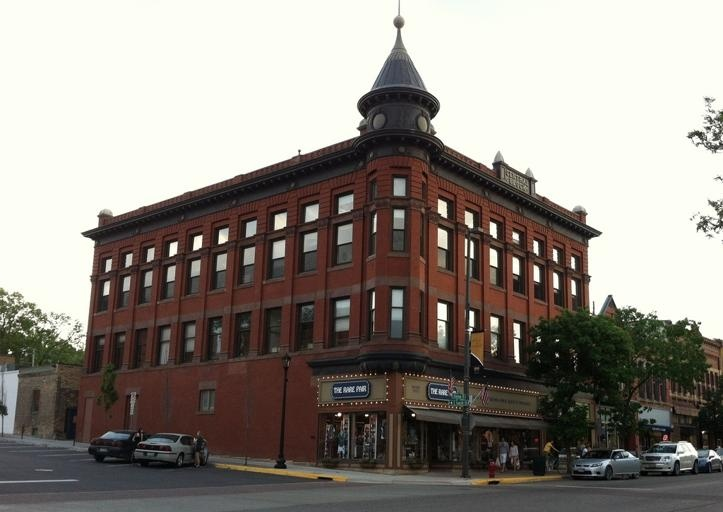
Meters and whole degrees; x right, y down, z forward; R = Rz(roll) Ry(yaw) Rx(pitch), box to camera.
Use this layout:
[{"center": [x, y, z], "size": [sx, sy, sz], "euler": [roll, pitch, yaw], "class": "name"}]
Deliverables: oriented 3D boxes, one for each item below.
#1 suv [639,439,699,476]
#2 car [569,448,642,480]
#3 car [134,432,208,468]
[{"center": [21.400, 13.932, 57.641], "size": [2.426, 2.084, 5.468], "euler": [-9, -16, 42], "class": "suv"}, {"center": [14.960, 12.570, 50.114], "size": [1.810, 1.288, 4.412], "euler": [-17, -29, 42], "class": "car"}, {"center": [-11.131, 11.174, 48.650], "size": [3.338, 1.698, 5.622], "euler": [3, -10, 10], "class": "car"}]
